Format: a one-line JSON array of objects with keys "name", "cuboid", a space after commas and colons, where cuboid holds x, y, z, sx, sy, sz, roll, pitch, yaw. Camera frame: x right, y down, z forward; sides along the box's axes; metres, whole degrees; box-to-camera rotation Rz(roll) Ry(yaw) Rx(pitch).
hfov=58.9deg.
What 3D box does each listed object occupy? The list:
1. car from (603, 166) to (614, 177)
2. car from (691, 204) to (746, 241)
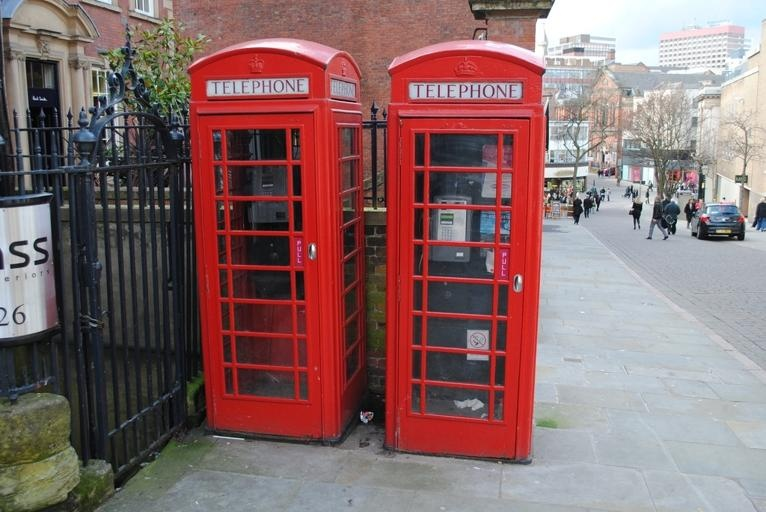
[{"name": "car", "cuboid": [37.059, -13.671, 110.941, 1.373, 1.134, 1.893, -6, 6, 0]}, {"name": "car", "cuboid": [13.783, -1.455, 28.117, 1.154, 0.884, 2.577, 1, 11, 17]}]
